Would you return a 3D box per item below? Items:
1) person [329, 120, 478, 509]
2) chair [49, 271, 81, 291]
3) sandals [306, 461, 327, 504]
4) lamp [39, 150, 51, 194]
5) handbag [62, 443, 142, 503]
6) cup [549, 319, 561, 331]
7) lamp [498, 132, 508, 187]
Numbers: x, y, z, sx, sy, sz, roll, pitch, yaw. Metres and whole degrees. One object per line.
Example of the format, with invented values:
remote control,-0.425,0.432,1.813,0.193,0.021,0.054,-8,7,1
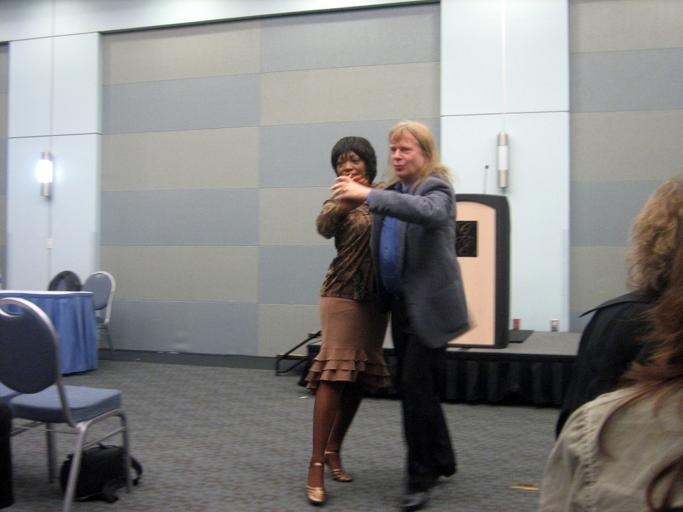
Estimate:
person,0.323,0.278,2.977,0.459,1.804,0.667,1,1,34
chair,-3.238,0.294,7.478,0.271,0.340,0.136,5,2,32
sandals,-0.124,1.072,3.062,0.094,0.201,0.147,0,1,-3
lamp,-3.645,-0.987,7.854,0.137,0.564,0.170,-1,1,-40
handbag,-1.173,1.067,3.182,0.245,0.186,0.314,-6,-15,31
cup,2.162,0.700,6.455,0.113,0.146,0.112,0,-1,0
lamp,1.662,-0.975,6.546,0.116,0.610,0.090,0,1,12
